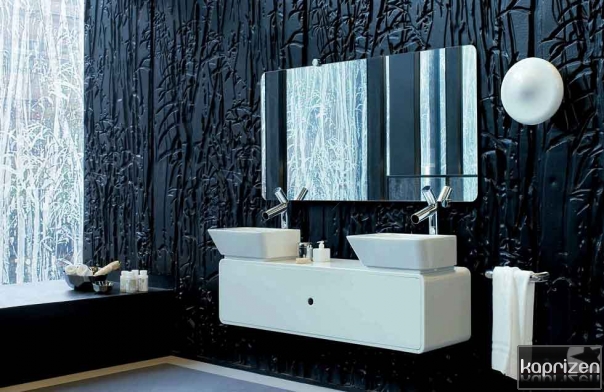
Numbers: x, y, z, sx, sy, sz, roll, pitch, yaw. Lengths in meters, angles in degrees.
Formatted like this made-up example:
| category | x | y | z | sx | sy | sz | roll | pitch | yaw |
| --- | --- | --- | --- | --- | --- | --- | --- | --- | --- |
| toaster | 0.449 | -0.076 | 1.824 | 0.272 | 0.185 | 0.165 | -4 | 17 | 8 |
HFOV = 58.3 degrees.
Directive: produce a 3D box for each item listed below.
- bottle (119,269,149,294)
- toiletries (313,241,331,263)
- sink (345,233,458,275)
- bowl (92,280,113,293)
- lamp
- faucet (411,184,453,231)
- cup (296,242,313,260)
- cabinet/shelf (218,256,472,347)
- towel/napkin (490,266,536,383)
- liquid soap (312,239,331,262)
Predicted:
| category | x | y | z | sx | sy | sz | roll | pitch | yaw |
| --- | --- | --- | --- | --- | --- | --- | --- | --- | --- |
| bottle | -1.408 | 0.720 | 4.560 | 0.230 | 0.202 | 0.133 | 0 | -1 | 42 |
| toiletries | 0.136 | 0.389 | 3.854 | 0.122 | 0.209 | 0.125 | 0 | 0 | -35 |
| sink | 0.633 | 0.361 | 3.454 | 0.669 | 0.252 | 0.286 | -3 | 2 | 15 |
| bowl | -1.624 | 0.727 | 4.419 | 0.112 | 0.062 | 0.103 | -1 | 0 | 0 |
| lamp | 1.423 | -0.642 | 3.339 | 0.319 | 0.379 | 0.182 | -17 | -6 | 30 |
| faucet | 0.888 | 0.118 | 3.604 | 0.179 | 0.277 | 0.057 | 10 | -4 | 1 |
| cup | 0.031 | 0.371 | 3.883 | 0.116 | 0.191 | 0.092 | 2 | 2 | 30 |
| cabinet/shelf | 0.240 | 0.710 | 3.751 | 1.717 | 0.576 | 0.328 | -3 | 2 | 24 |
| towel/napkin | 1.301 | 0.785 | 3.360 | 0.249 | 0.676 | 0.137 | -2 | 2 | 26 |
| liquid soap | 0.147 | 0.387 | 3.852 | 0.122 | 0.208 | 0.125 | 0 | 0 | -35 |
